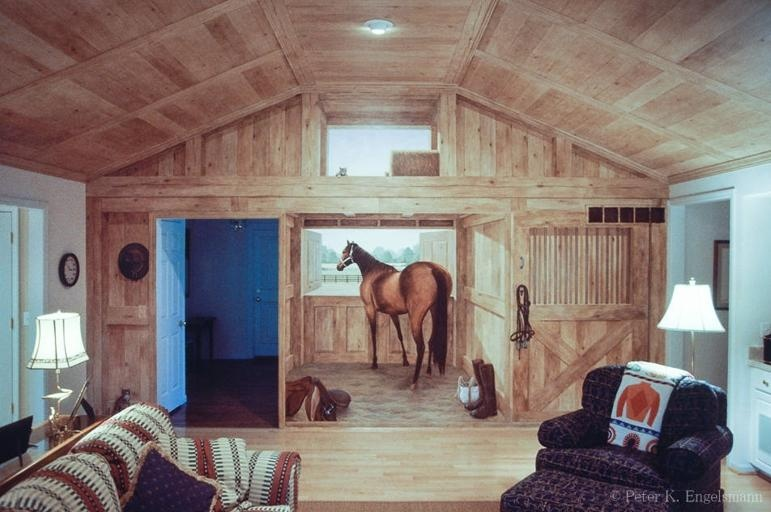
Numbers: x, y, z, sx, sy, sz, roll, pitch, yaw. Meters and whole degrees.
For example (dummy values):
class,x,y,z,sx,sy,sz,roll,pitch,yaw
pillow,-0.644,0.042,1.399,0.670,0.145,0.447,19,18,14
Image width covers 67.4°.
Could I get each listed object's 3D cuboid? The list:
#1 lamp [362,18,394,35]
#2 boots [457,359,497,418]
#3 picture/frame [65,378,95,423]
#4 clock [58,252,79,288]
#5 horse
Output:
class,x,y,z,sx,sy,sz,roll,pitch,yaw
lamp,-0.069,-2.450,6.233,0.307,0.090,0.298,-2,-2,36
boots,1.240,1.765,7.711,0.512,0.704,0.432,-2,-1,9
picture/frame,-3.551,1.660,6.640,0.158,0.715,0.232,20,23,-16
clock,-3.931,0.180,7.151,0.069,0.445,0.295,-2,-1,12
horse,0.268,0.826,8.810,0.839,2.125,1.637,0,-2,-40
